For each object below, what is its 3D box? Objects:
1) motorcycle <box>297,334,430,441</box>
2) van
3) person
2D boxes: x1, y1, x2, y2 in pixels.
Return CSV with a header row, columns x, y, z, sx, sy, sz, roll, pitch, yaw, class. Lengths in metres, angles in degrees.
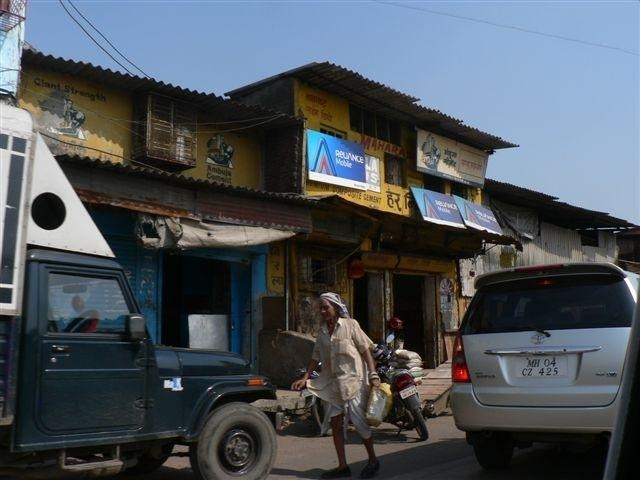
x,y,z,sx,sy,sz,roll,pitch,yaw,class
0.974,2.071,11.997,0.968,1.127,1.902,-5,-10,-3,motorcycle
2.266,1.161,8.835,1.351,1.405,2.512,-4,-5,26,van
0.236,1.610,9.678,0.854,2.058,0.432,-3,-8,5,person
